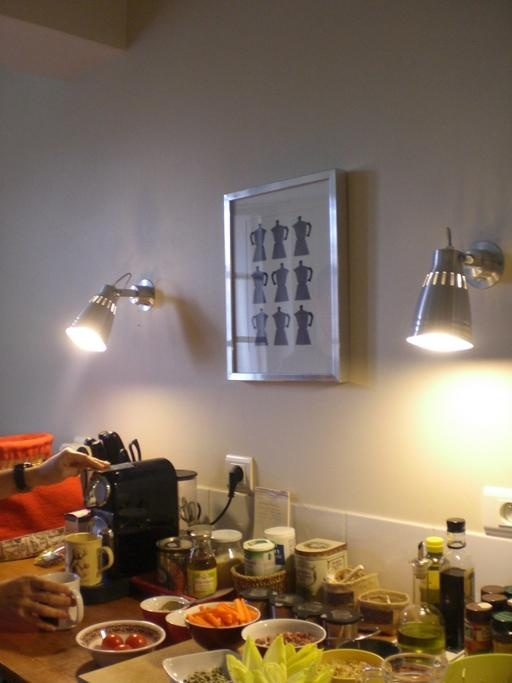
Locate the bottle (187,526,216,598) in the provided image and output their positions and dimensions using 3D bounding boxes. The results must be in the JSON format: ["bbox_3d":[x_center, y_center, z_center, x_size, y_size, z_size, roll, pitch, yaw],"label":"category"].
[{"bbox_3d":[-0.109,0.447,1.311,0.057,0.123,0.086,1,-1,-2],"label":"bottle"}]

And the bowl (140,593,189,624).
[{"bbox_3d":[-0.170,0.502,1.208,0.085,0.041,0.082,1,-4,0],"label":"bowl"}]

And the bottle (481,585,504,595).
[{"bbox_3d":[0.381,0.402,1.044,0.034,0.007,0.050,0,-1,22],"label":"bottle"}]

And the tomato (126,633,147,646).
[{"bbox_3d":[-0.203,0.506,1.095,0.018,0.021,0.018,-3,-20,2],"label":"tomato"}]

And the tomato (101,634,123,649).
[{"bbox_3d":[-0.239,0.501,1.077,0.022,0.024,0.021,1,5,-3],"label":"tomato"}]

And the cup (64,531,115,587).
[{"bbox_3d":[-0.337,0.463,1.359,0.106,0.092,0.066,-1,-1,30],"label":"cup"}]

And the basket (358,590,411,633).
[{"bbox_3d":[0.220,0.470,1.125,0.087,0.061,0.069,5,-7,-41],"label":"basket"}]

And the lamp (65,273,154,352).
[{"bbox_3d":[-0.387,-0.092,1.773,0.172,0.271,0.112,24,-35,-31],"label":"lamp"}]

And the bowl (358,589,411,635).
[{"bbox_3d":[0.226,0.480,1.148,0.088,0.059,0.078,-2,-4,34],"label":"bowl"}]

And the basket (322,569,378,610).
[{"bbox_3d":[0.169,0.443,1.193,0.069,0.062,0.092,-1,-3,21],"label":"basket"}]

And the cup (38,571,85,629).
[{"bbox_3d":[-0.395,0.484,1.230,0.109,0.090,0.065,7,0,30],"label":"cup"}]

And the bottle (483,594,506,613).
[{"bbox_3d":[0.372,0.402,0.996,0.023,0.014,0.022,-2,9,0],"label":"bottle"}]

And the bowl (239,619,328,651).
[{"bbox_3d":[0.045,0.469,1.029,0.117,0.026,0.110,1,-1,0],"label":"bowl"}]

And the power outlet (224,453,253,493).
[{"bbox_3d":[-0.039,0.317,1.566,0.044,0.107,0.111,0,-2,-40],"label":"power outlet"}]

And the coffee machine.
[{"bbox_3d":[-0.320,0.419,1.489,0.159,0.272,0.257,-4,-4,40],"label":"coffee machine"}]

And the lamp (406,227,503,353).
[{"bbox_3d":[0.338,-0.093,1.093,0.158,0.223,0.268,0,-1,13],"label":"lamp"}]

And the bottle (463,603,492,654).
[{"bbox_3d":[0.338,0.445,0.989,0.040,0.081,0.046,0,-1,18],"label":"bottle"}]

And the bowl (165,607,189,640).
[{"bbox_3d":[-0.138,0.502,1.141,0.062,0.045,0.066,-1,-15,0],"label":"bowl"}]
